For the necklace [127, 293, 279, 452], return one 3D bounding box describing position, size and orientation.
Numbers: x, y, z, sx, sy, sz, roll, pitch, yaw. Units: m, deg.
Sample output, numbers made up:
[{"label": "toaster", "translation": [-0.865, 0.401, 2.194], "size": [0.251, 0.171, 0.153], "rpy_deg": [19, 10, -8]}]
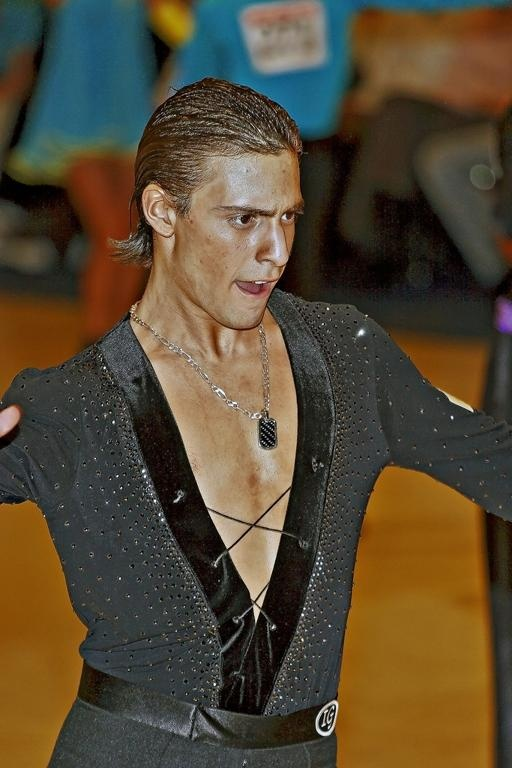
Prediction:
[{"label": "necklace", "translation": [-0.099, -0.002, 1.627], "size": [0.203, 0.033, 0.303], "rpy_deg": [-27, 83, -37]}]
